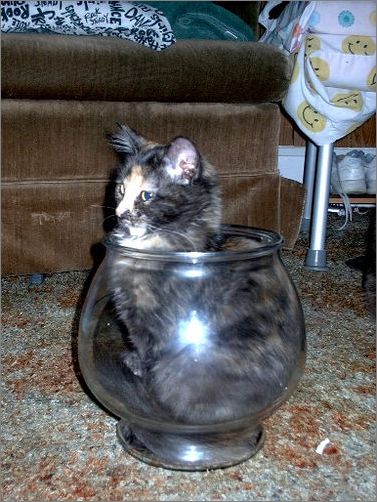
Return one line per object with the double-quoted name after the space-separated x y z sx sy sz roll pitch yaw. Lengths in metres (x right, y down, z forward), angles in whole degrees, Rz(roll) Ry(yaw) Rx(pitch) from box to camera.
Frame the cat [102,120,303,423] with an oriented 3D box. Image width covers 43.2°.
0.017 0.033 0.632 0.284 0.353 0.267 7 11 21 "cat"
